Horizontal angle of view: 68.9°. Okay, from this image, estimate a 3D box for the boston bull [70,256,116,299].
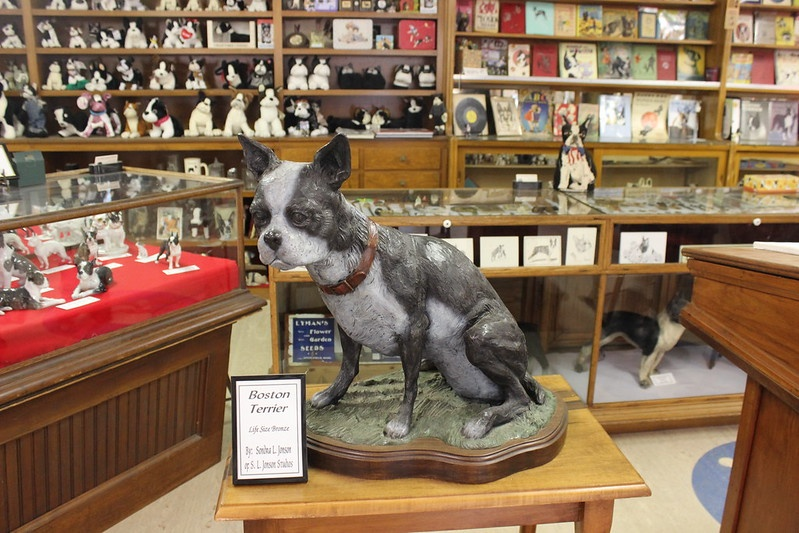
[{"bbox_3d":[-1.352,0.048,2.559,0.151,0.157,0.263,3,9,-7],"label":"boston bull"}]

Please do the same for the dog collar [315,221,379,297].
[{"bbox_3d":[-0.167,-0.034,1.888,0.202,0.222,0.053,-24,-37,39],"label":"dog collar"}]
